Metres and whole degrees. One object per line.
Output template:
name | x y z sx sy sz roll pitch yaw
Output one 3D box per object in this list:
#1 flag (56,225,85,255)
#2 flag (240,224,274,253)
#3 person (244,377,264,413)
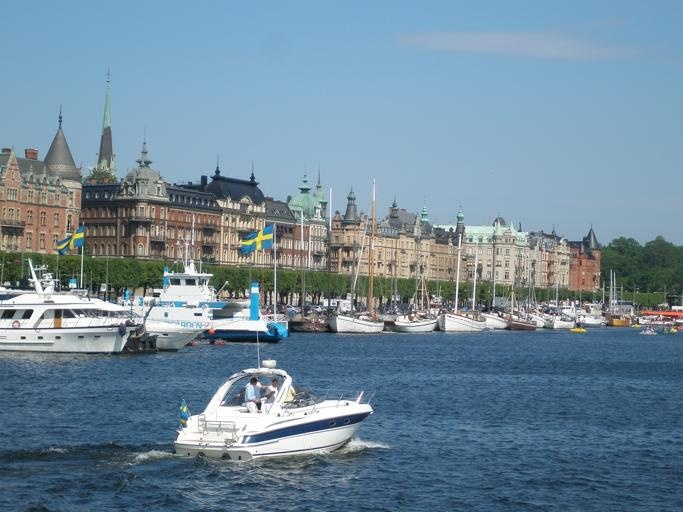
flag | -27.372 -1.688 152.431 2.914 2.998 0.450 -23 43 -21
flag | -9.195 -1.839 163.381 3.631 2.962 0.608 -10 20 -22
person | -4.156 6.653 72.131 0.848 1.638 0.819 2 -2 -4
